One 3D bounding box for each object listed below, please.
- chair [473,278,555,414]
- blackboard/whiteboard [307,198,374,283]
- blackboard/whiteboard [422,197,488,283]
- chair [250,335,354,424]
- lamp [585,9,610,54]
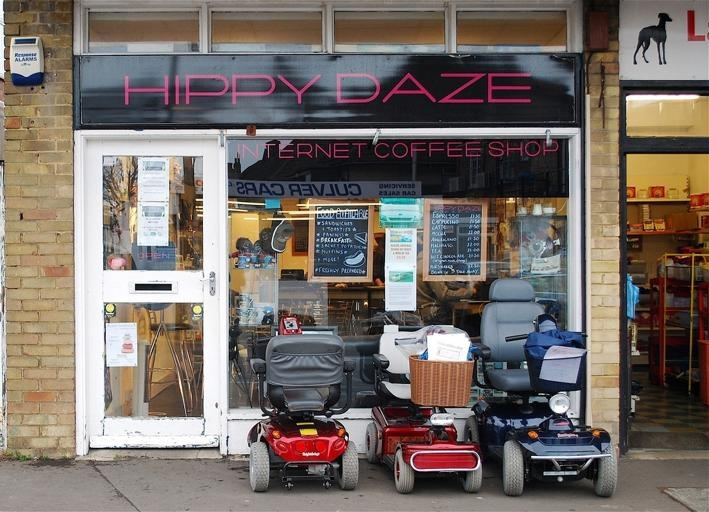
[{"bbox_3d":[1.637,0.882,13.269,0.882,1.212,1.081,-2,-12,13],"label":"chair"},{"bbox_3d":[-0.181,-0.169,13.085,0.904,0.998,0.071,0,4,-3],"label":"blackboard/whiteboard"},{"bbox_3d":[0.953,-0.181,13.131,0.903,1.008,0.073,1,4,-3],"label":"blackboard/whiteboard"},{"bbox_3d":[-0.503,1.124,12.292,0.946,0.711,0.710,0,-2,-9],"label":"chair"},{"bbox_3d":[2.350,-2.186,12.856,0.221,0.412,0.081,-2,1,8],"label":"lamp"}]
